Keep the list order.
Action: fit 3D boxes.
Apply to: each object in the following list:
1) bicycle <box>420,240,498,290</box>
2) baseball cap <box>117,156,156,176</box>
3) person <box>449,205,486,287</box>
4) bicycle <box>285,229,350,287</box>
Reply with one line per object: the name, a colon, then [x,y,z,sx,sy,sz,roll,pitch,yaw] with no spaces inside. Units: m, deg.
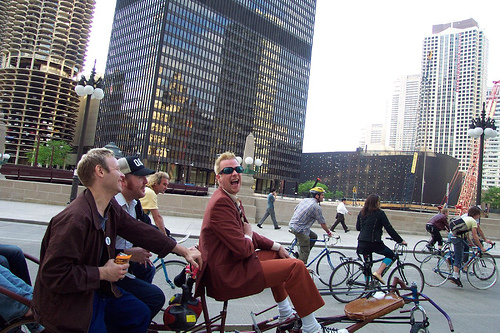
bicycle: [6.005,2.755,10.953,2.254,1.362,0.793,5,0,-3]
baseball cap: [-1.737,-0.018,5.714,0.463,0.231,0.289,-3,2,-3]
person: [6.206,2.279,10.827,1.124,2.256,0.774,5,0,-43]
bicycle: [1.484,2.190,9.218,2.024,1.249,0.781,15,-15,-16]
